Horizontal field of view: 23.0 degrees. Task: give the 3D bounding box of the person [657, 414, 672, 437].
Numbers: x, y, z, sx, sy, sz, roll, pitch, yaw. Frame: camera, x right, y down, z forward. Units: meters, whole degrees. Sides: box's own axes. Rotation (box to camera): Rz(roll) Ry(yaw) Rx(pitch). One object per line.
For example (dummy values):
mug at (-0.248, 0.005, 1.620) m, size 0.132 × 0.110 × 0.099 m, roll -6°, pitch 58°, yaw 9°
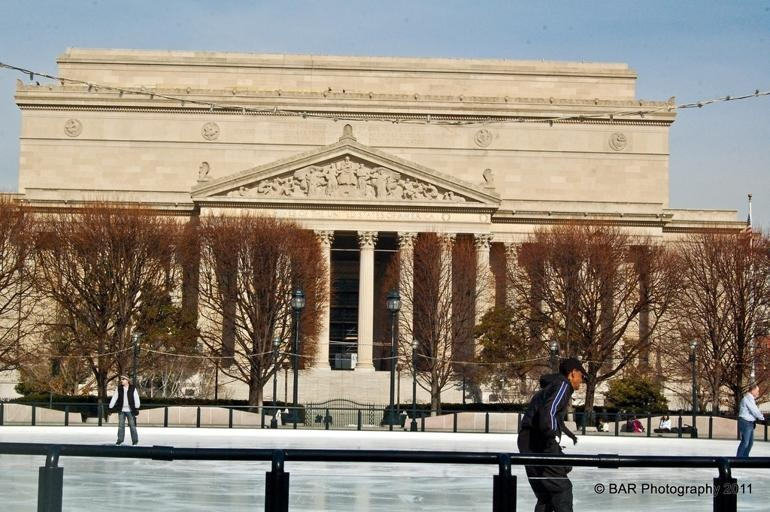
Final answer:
person at (20.385, 12.600, 138.197) m, size 1.149 × 1.361 × 1.891 m, roll -2°, pitch -9°, yaw 9°
